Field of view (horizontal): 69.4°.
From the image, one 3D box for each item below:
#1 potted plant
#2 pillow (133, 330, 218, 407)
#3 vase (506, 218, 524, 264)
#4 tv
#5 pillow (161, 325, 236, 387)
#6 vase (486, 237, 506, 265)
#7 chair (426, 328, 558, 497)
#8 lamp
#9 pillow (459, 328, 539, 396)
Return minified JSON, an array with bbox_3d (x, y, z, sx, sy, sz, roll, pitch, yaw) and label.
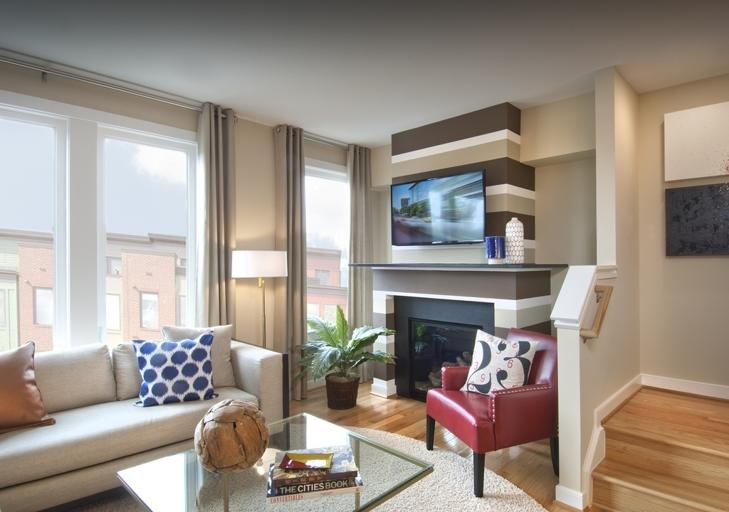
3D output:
[{"bbox_3d":[-0.158,1.027,5.481,1.086,0.826,1.052,4,-5,-38],"label":"potted plant"},{"bbox_3d":[-1.564,0.956,4.369,0.598,0.512,0.209,1,-32,-25],"label":"pillow"},{"bbox_3d":[1.427,-0.143,5.033,0.162,0.421,0.169,-2,1,14],"label":"vase"},{"bbox_3d":[0.779,-0.459,5.600,0.097,0.706,1.253,-6,5,-44],"label":"tv"},{"bbox_3d":[-1.421,0.873,4.495,0.538,0.468,0.187,-2,-14,-18],"label":"pillow"},{"bbox_3d":[1.247,-0.058,5.010,0.195,0.259,0.173,-2,1,-26],"label":"vase"},{"bbox_3d":[1.069,1.172,4.371,0.886,0.927,0.921,-3,4,-23],"label":"chair"},{"bbox_3d":[-1.040,0.449,5.285,0.536,0.702,0.635,-2,1,-12],"label":"lamp"},{"bbox_3d":[1.061,0.869,4.426,0.802,0.695,0.424,-5,-9,41],"label":"pillow"}]
